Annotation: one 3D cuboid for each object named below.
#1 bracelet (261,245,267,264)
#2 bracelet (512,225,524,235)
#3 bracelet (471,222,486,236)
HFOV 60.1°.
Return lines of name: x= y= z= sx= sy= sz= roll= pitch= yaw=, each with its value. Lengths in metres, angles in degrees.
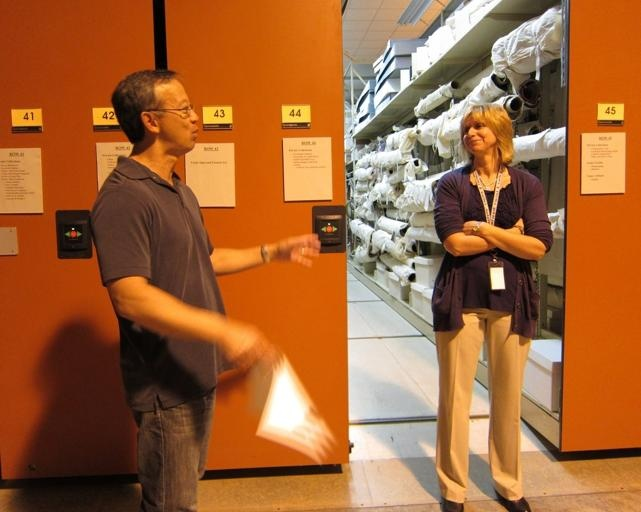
bracelet: x=-0.271 y=-0.009 z=2.654 sx=0.014 sy=0.064 sz=0.061 roll=-5 pitch=1 yaw=2
bracelet: x=1.012 y=-0.138 z=2.850 sx=0.039 sy=0.054 sz=0.057 roll=-2 pitch=-16 yaw=10
bracelet: x=0.802 y=-0.139 z=2.815 sx=0.056 sy=0.028 sz=0.046 roll=-4 pitch=-6 yaw=-40
